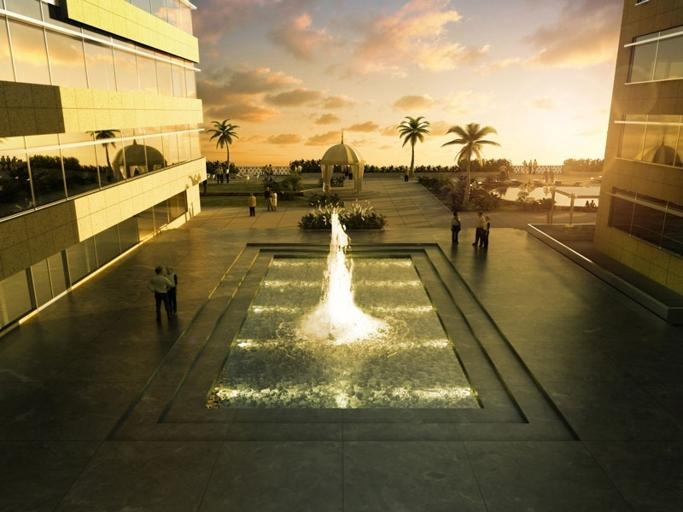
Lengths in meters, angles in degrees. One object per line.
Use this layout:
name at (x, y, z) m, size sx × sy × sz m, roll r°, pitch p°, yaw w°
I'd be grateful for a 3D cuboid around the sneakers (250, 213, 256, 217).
sneakers at (-6.144, -2.828, 28.899) m, size 0.282 × 0.317 × 0.201 m, roll 0°, pitch 2°, yaw 0°

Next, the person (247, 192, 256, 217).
person at (-6.134, -3.487, 28.788) m, size 0.440 × 1.458 × 1.404 m, roll -3°, pitch 18°, yaw -14°

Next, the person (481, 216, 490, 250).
person at (7.127, -1.181, 20.627) m, size 0.396 × 1.580 × 0.841 m, roll 8°, pitch 19°, yaw 19°

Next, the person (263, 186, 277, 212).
person at (-5.156, -4.117, 30.814) m, size 0.729 × 1.447 × 1.614 m, roll -2°, pitch 17°, yaw -12°
